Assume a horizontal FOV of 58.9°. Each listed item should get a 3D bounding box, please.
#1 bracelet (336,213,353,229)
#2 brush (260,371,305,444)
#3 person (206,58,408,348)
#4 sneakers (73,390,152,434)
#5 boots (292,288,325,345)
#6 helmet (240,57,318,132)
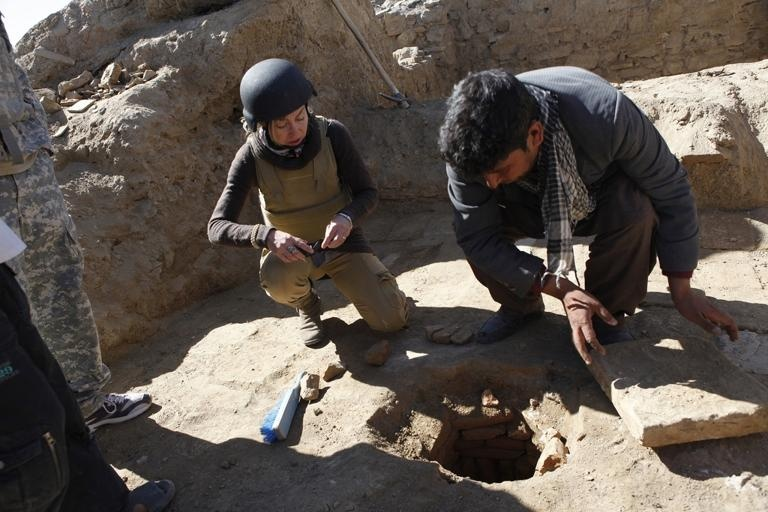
[{"bbox_3d":[-0.232,-0.198,3.844,0.072,0.075,0.072,13,-35,-31],"label":"bracelet"},{"bbox_3d":[-0.562,0.844,3.793,0.149,0.139,0.463,-8,24,22],"label":"brush"},{"bbox_3d":[-0.482,-0.241,3.934,0.914,1.716,0.567,-17,22,-1],"label":"person"},{"bbox_3d":[-1.540,0.846,3.832,0.366,0.167,0.152,-15,23,-18],"label":"sneakers"},{"bbox_3d":[-0.440,0.375,4.237,0.129,0.260,0.367,-3,32,0],"label":"boots"},{"bbox_3d":[-0.602,-0.909,3.725,0.403,0.311,0.233,-21,22,-10],"label":"helmet"}]
